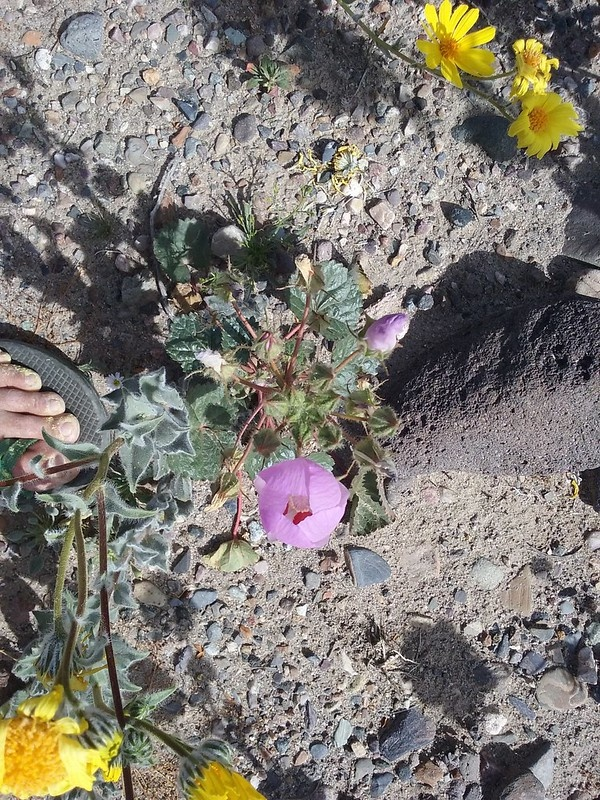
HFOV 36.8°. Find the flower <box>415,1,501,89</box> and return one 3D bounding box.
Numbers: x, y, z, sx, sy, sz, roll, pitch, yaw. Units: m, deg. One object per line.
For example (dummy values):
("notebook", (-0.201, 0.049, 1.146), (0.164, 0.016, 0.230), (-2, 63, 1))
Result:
("flower", (0.341, -0.771, 1.951), (0.214, 0.083, 0.209), (0, 97, -24))

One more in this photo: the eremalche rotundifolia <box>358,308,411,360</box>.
("eremalche rotundifolia", (0.158, -0.116, 1.679), (0.066, 0.108, 0.052), (40, 28, 0))

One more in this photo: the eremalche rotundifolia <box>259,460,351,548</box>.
("eremalche rotundifolia", (0.015, 0.201, 1.661), (0.092, 0.137, 0.142), (-3, 63, -27))
